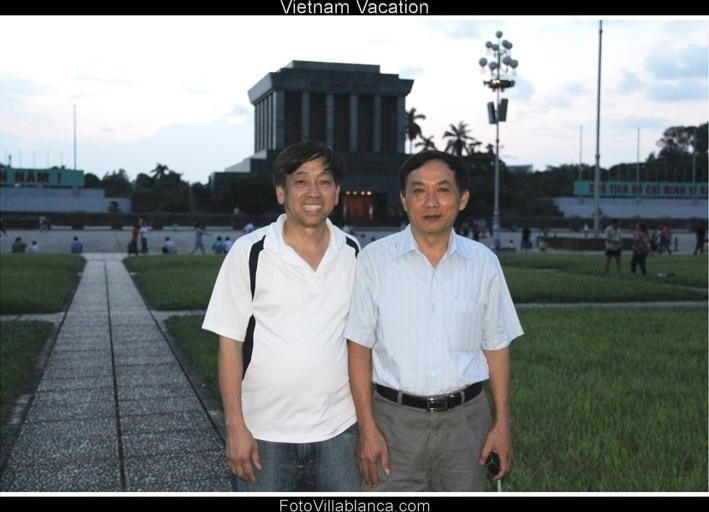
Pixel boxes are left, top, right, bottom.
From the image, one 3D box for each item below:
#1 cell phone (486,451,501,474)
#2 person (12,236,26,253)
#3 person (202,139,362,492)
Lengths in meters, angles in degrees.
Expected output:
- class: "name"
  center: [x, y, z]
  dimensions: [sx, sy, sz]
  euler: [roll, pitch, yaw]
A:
- class: "cell phone"
  center: [1.072, 1.572, 5.638]
  dimensions: [0.077, 0.083, 0.144]
  euler: [-35, 12, 21]
- class: "person"
  center: [-13.970, -0.458, 30.580]
  dimensions: [0.467, 0.595, 1.500]
  euler: [-1, 4, -25]
- class: "person"
  center: [-0.506, 0.462, 5.577]
  dimensions: [1.078, 2.639, 0.387]
  euler: [0, 3, -11]
